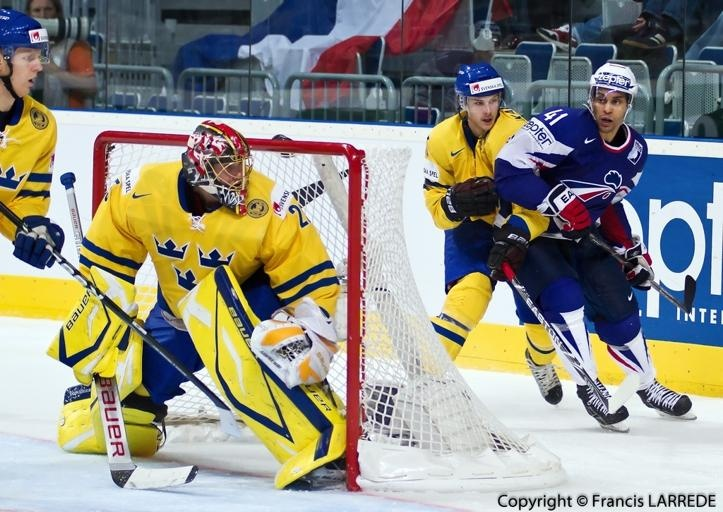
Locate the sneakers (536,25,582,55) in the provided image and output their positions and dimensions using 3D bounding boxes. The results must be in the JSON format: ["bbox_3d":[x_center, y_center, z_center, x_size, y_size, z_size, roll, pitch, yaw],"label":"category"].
[{"bbox_3d":[1.144,-1.252,6.319,0.280,0.125,0.095,29,21,-4],"label":"sneakers"}]

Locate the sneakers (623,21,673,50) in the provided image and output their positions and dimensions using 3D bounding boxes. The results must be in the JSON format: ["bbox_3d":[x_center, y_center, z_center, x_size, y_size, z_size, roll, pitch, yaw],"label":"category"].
[{"bbox_3d":[1.593,-1.213,6.147,0.201,0.086,0.114,1,8,-7],"label":"sneakers"}]

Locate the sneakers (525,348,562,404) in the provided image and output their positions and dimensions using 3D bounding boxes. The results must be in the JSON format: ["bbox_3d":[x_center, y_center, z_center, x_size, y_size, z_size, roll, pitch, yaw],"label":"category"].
[{"bbox_3d":[0.985,0.662,5.911,0.124,0.346,0.136,-23,4,11],"label":"sneakers"}]

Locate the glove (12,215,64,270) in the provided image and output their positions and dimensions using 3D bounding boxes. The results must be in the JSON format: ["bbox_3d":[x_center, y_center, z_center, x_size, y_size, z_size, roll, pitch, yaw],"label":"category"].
[{"bbox_3d":[-1.403,-0.073,4.812,0.104,0.196,0.243,-39,19,4],"label":"glove"}]

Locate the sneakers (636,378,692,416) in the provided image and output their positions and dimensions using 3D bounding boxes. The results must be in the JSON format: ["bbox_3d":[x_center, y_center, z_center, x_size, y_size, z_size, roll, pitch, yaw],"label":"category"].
[{"bbox_3d":[1.519,0.704,5.711,0.126,0.133,0.340,-47,24,-14],"label":"sneakers"}]

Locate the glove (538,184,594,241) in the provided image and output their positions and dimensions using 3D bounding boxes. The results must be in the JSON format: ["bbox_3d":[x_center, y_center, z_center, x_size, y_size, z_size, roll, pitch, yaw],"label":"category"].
[{"bbox_3d":[0.976,-0.204,5.201,0.263,0.270,0.185,1,10,-2],"label":"glove"}]

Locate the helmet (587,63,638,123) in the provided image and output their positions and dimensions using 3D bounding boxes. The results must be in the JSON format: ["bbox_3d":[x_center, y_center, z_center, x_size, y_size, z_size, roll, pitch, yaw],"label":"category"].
[{"bbox_3d":[1.182,-0.776,5.189,0.217,0.268,0.264,15,18,18],"label":"helmet"}]

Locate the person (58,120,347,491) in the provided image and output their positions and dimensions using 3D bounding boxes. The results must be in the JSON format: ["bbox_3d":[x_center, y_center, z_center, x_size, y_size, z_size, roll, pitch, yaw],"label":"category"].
[{"bbox_3d":[-0.650,0.171,4.799,1.476,1.442,0.878,2,8,20],"label":"person"}]

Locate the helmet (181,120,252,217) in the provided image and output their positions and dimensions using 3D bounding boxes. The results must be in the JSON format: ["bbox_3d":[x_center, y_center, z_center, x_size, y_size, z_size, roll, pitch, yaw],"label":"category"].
[{"bbox_3d":[-0.592,-0.387,4.599,0.265,0.331,0.341,-9,19,-40],"label":"helmet"}]

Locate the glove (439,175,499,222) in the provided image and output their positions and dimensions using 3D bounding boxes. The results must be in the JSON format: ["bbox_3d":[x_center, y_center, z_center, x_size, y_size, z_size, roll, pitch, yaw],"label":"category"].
[{"bbox_3d":[0.531,-0.288,5.421,0.234,0.106,0.182,-2,16,9],"label":"glove"}]

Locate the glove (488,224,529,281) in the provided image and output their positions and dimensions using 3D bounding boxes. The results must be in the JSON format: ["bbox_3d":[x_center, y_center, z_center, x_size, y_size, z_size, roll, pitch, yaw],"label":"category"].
[{"bbox_3d":[0.680,0.007,5.237,0.194,0.256,0.110,32,-8,9],"label":"glove"}]

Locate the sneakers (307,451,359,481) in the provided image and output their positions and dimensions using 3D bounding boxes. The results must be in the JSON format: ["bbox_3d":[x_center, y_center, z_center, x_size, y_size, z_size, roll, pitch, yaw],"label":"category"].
[{"bbox_3d":[-0.121,0.869,4.556,0.131,0.047,0.102,-8,6,-4],"label":"sneakers"}]

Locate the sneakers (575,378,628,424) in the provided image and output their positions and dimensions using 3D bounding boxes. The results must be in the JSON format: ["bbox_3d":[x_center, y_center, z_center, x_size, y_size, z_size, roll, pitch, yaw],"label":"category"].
[{"bbox_3d":[1.162,0.715,5.368,0.110,0.143,0.329,-33,35,-11],"label":"sneakers"}]

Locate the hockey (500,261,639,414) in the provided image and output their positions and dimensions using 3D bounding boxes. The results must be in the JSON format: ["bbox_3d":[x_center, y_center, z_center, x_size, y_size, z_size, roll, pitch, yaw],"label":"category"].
[{"bbox_3d":[1.068,0.413,5.525,0.157,0.880,0.106,-20,-29,-21],"label":"hockey"}]
